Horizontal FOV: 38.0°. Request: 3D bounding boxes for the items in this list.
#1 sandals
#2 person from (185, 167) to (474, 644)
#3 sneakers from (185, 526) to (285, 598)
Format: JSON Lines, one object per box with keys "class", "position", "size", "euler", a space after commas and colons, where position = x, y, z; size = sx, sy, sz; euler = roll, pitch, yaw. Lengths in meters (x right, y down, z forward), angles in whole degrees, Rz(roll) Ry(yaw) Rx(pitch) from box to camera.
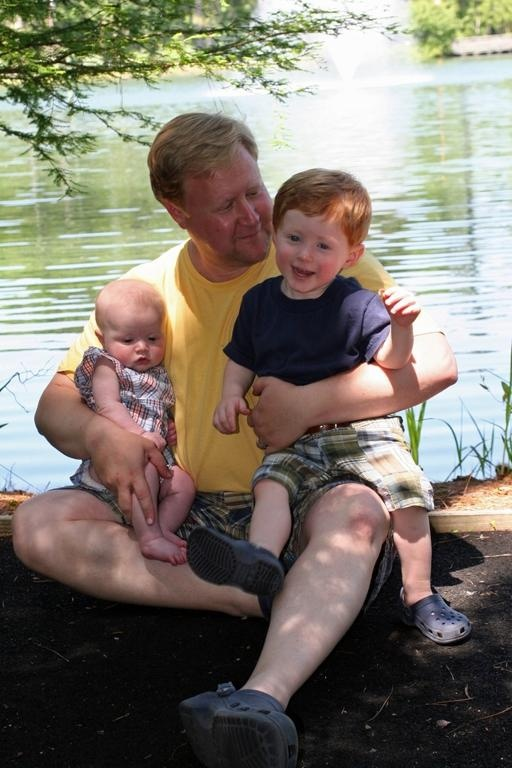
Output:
{"class": "sandals", "position": [0.498, 0.649, 2.105], "size": [0.103, 0.079, 0.210], "euler": [-19, 16, -26]}
{"class": "person", "position": [0.195, 0.045, 2.118], "size": [0.714, 1.364, 0.869], "euler": [-4, 8, 8]}
{"class": "sneakers", "position": [-0.064, 0.419, 1.882], "size": [0.296, 0.114, 0.140], "euler": [19, 18, 27]}
